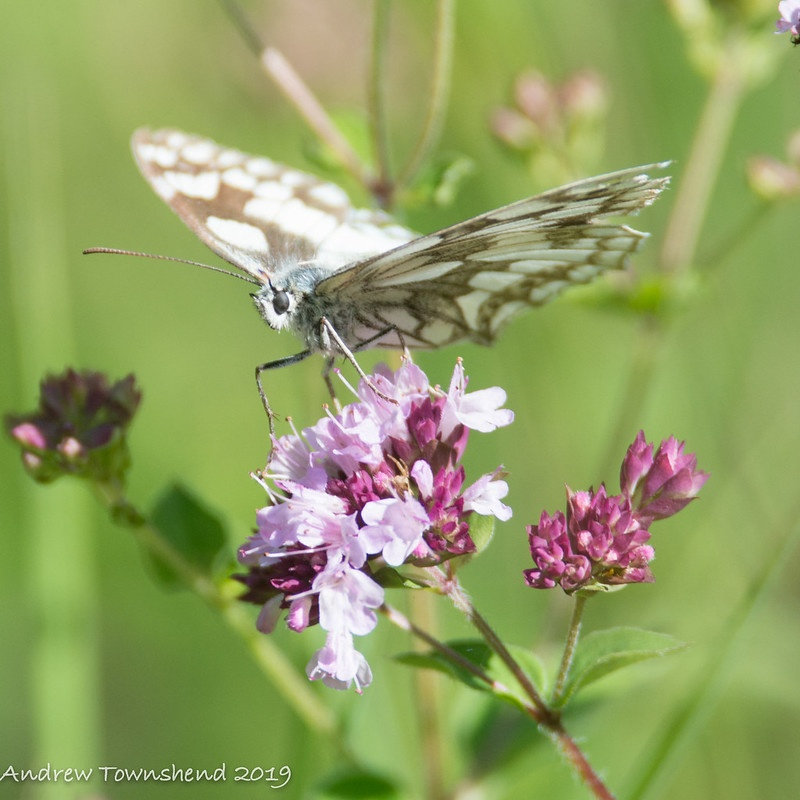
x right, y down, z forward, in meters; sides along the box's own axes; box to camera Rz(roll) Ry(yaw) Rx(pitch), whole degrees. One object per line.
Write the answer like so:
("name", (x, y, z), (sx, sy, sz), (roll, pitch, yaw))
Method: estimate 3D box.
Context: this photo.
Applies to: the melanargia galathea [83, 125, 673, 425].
("melanargia galathea", (-0.005, -0.392, 2.946), (1.223, 0.642, 1.273), (-3, -1, 6))
